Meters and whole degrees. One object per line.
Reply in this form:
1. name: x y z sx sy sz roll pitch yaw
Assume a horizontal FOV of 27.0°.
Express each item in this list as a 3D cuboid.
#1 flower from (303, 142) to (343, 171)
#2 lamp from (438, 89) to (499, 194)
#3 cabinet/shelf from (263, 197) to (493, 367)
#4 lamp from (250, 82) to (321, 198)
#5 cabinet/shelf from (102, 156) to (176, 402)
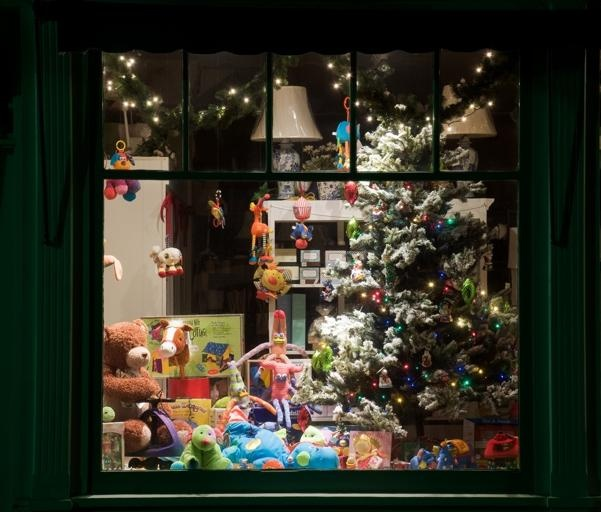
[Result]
1. flower: 0.124 -0.610 7.695 0.223 0.252 0.183 2 -2 17
2. lamp: 0.948 -0.682 7.263 0.381 0.747 0.418 -3 3 11
3. cabinet/shelf: 0.510 0.161 7.697 0.951 0.984 0.296 0 -5 -2
4. lamp: -0.088 -0.699 7.635 0.416 0.692 0.446 0 0 15
5. cabinet/shelf: -0.960 0.158 7.404 0.370 1.223 1.195 -1 -7 -2
